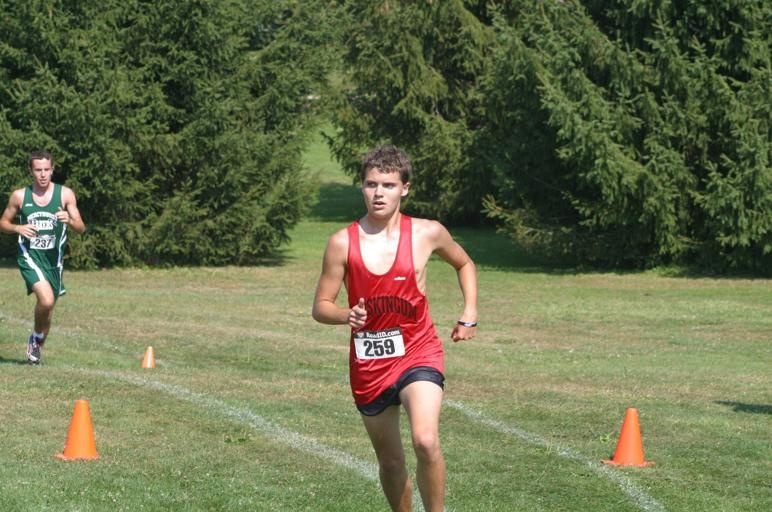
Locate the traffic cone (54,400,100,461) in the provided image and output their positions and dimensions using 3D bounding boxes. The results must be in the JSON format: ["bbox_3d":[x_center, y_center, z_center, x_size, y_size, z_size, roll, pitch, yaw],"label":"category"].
[{"bbox_3d":[-5.677,3.221,22.449,1.132,1.162,0.964,2,-3,-8],"label":"traffic cone"}]

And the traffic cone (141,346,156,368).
[{"bbox_3d":[-5.104,2.177,25.676,0.407,0.420,0.397,8,-6,-22],"label":"traffic cone"}]

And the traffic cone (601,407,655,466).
[{"bbox_3d":[4.579,3.350,22.641,0.999,1.000,1.067,2,0,45],"label":"traffic cone"}]
